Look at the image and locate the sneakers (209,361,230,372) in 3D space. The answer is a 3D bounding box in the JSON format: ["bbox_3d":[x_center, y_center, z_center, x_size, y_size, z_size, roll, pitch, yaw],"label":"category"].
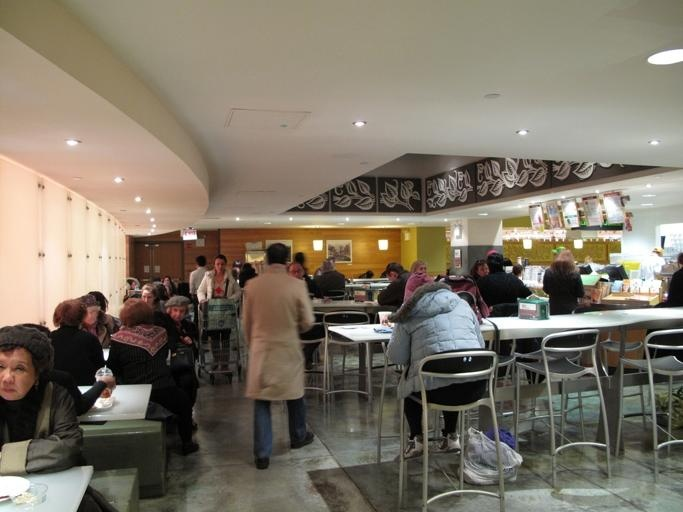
[{"bbox_3d":[-1.768,1.637,7.212,0.276,0.137,0.365,1,-4,-17],"label":"sneakers"}]

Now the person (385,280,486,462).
[{"bbox_3d":[0.803,0.912,3.942,0.811,1.467,0.808,-10,-15,34],"label":"person"}]

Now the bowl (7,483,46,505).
[{"bbox_3d":[-1.385,1.073,2.180,0.143,0.053,0.083,-3,-1,12],"label":"bowl"}]

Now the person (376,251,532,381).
[{"bbox_3d":[0.697,0.544,3.768,1.076,1.182,0.701,-8,10,3],"label":"person"}]

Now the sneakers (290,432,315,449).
[{"bbox_3d":[-0.349,1.760,4.631,0.090,0.105,0.252,4,7,35],"label":"sneakers"}]

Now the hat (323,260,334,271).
[{"bbox_3d":[-0.223,0.146,9.074,0.159,0.204,0.207,3,-34,-3],"label":"hat"}]

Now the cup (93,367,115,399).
[{"bbox_3d":[-1.754,0.978,3.738,0.154,0.183,0.196,4,-13,-10],"label":"cup"}]

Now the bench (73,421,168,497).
[{"bbox_3d":[-1.649,1.483,3.769,0.722,0.517,0.680,1,-2,-13],"label":"bench"}]

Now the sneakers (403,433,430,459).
[{"bbox_3d":[0.683,1.644,4.197,0.381,0.156,0.120,-1,-14,-15],"label":"sneakers"}]

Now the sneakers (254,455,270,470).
[{"bbox_3d":[-0.666,1.785,4.197,0.073,0.113,0.119,4,10,-11],"label":"sneakers"}]

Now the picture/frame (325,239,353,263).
[{"bbox_3d":[-0.116,-0.217,18.757,0.867,0.706,0.081,6,-12,-21],"label":"picture/frame"}]
